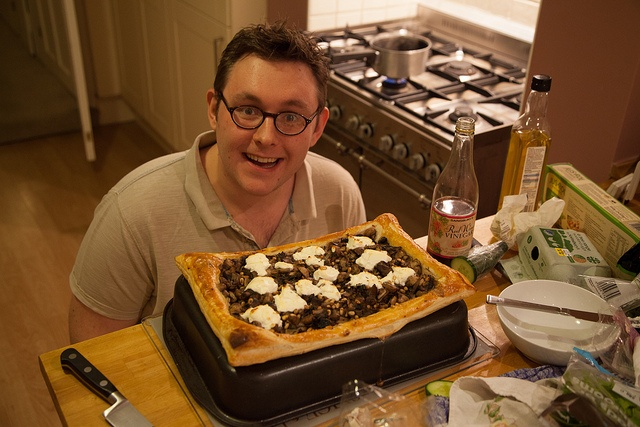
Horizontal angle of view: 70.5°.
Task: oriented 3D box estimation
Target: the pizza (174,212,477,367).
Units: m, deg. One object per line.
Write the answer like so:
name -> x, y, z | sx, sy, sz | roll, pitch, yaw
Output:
pizza -> 0.011, 0.148, 1.003 | 0.624, 0.100, 0.324 | -12, 35, -14

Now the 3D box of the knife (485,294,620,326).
knife -> 0.554, 0.224, 1.053 | 0.257, 0.023, 0.034 | 10, 47, 6

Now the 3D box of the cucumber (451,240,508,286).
cucumber -> 0.418, 0.132, 1.193 | 0.057, 0.061, 0.150 | -28, -5, 40

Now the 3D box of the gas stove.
gas stove -> 0.456, -0.449, 2.027 | 0.434, 0.770, 0.764 | -13, 37, -24

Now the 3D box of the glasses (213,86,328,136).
glasses -> -0.154, -0.260, 1.212 | 0.263, 0.100, 0.088 | 2, 34, 8

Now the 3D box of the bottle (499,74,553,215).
bottle -> 0.615, -0.176, 1.339 | 0.120, 0.354, 0.113 | -2, 33, 2
